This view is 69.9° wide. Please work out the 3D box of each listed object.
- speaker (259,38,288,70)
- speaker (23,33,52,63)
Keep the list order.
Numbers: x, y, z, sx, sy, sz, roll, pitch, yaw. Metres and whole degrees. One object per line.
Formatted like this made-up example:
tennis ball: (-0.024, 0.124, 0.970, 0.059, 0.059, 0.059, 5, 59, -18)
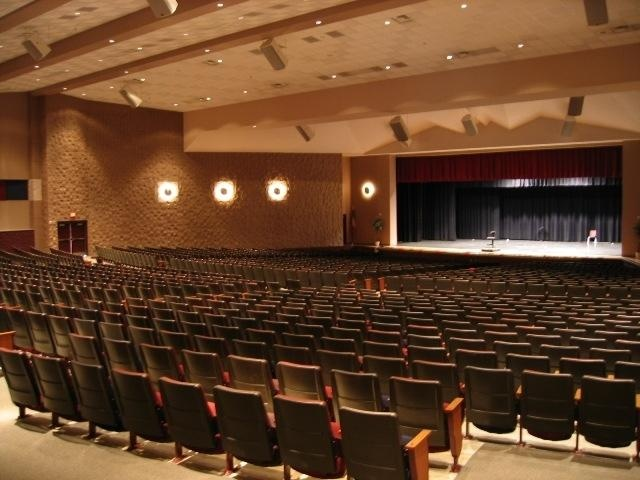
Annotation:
speaker: (-1.203, -4.782, 11.733, 0.390, 0.625, 0.577, 4, 3, 36)
speaker: (-7.599, -5.128, 12.132, 0.480, 0.541, 0.621, 1, 3, -44)
